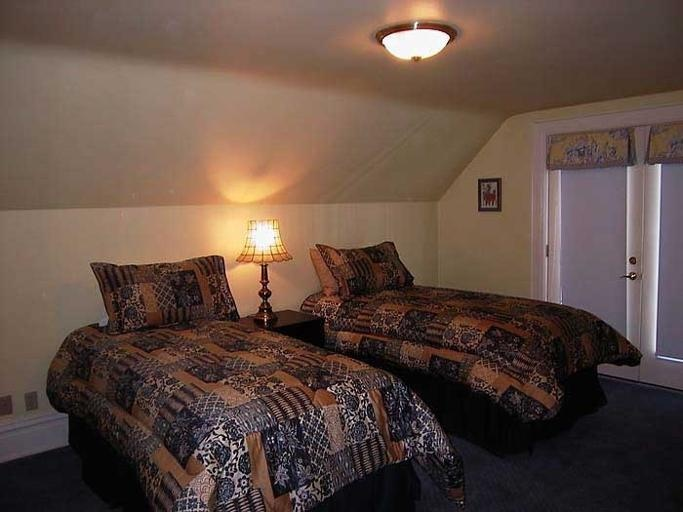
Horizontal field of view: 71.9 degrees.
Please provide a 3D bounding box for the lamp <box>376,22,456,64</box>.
[{"bbox_3d":[0.414,-1.171,2.602,0.437,0.169,0.463,-1,11,24],"label":"lamp"}]

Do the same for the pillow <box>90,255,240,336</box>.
[{"bbox_3d":[-1.204,0.249,3.160,0.721,0.542,0.202,-6,-18,-32],"label":"pillow"}]

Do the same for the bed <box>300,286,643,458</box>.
[{"bbox_3d":[0.814,0.636,3.443,1.742,0.590,1.133,6,12,44],"label":"bed"}]

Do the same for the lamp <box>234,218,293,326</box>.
[{"bbox_3d":[-0.635,0.116,3.887,0.409,0.824,0.420,-2,6,-20],"label":"lamp"}]

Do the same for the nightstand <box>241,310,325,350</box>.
[{"bbox_3d":[-0.401,0.539,3.782,0.369,0.257,0.384,-4,8,-43],"label":"nightstand"}]
